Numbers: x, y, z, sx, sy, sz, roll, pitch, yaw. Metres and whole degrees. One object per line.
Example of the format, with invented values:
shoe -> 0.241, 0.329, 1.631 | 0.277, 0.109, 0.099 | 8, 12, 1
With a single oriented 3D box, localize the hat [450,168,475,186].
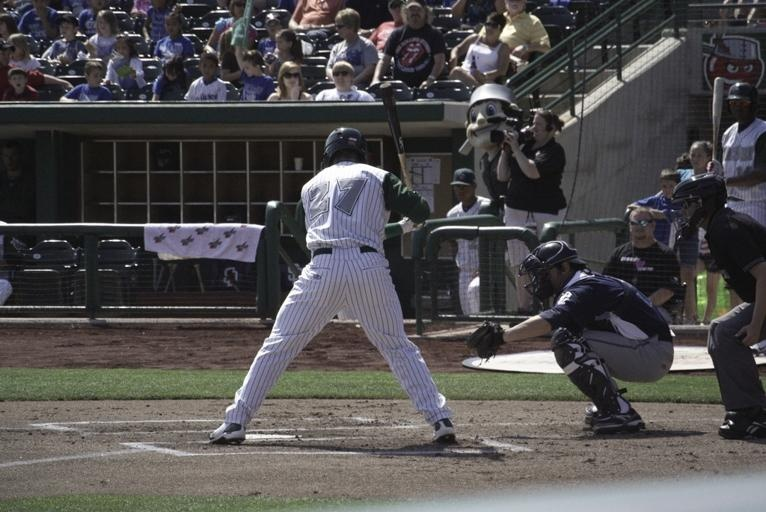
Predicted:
hat -> 1.231, -1.157, 27.107 | 0.241, 0.164, 0.335 | 0, -1, 34

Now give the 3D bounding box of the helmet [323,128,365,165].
helmet -> -0.438, -1.266, 22.501 | 0.484, 0.441, 0.528 | 8, -19, -6

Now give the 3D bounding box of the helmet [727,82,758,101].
helmet -> 4.787, -2.189, 24.894 | 0.373, 0.238, 0.249 | 0, 0, 8

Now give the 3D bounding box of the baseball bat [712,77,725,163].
baseball bat -> 4.579, -1.835, 25.528 | 0.167, 1.176, 0.173 | 5, 12, 13

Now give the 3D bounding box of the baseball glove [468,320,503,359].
baseball glove -> 1.270, 0.978, 22.446 | 0.471, 0.434, 0.363 | 0, 0, 11

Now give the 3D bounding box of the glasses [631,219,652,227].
glasses -> 3.562, -0.474, 25.784 | 0.129, 0.034, 0.126 | -5, -23, 31

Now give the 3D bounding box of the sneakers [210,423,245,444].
sneakers -> -1.793, 2.035, 22.001 | 0.396, 0.160, 0.220 | 1, -8, 12

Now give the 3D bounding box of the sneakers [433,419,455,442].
sneakers -> 0.735, 2.002, 21.991 | 0.267, 0.297, 0.158 | 0, 0, -1
